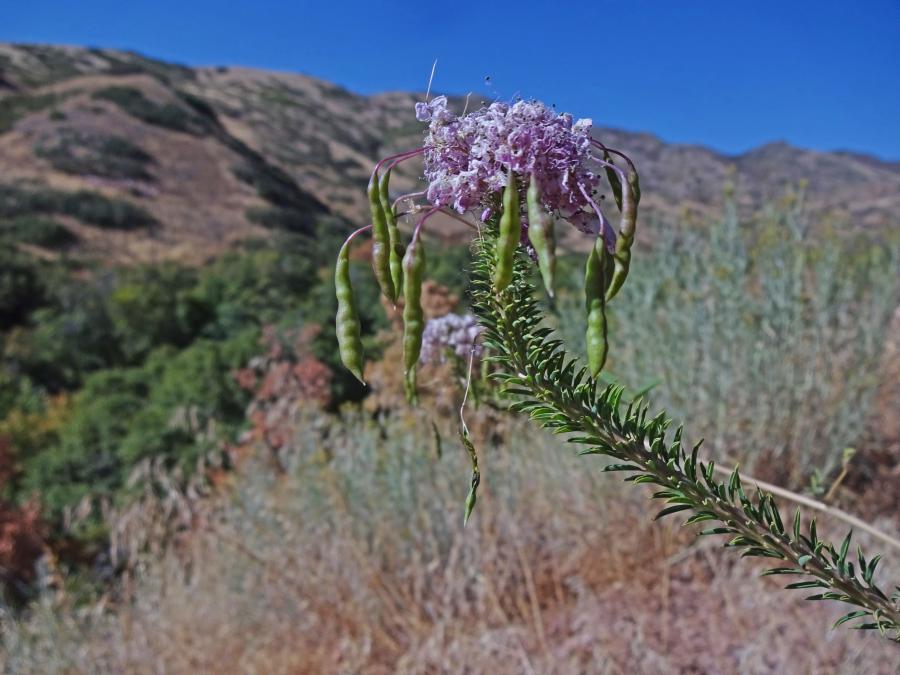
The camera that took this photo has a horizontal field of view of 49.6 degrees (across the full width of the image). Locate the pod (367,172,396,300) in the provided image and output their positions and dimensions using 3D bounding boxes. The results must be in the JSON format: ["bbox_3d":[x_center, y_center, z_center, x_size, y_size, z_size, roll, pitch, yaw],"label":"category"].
[{"bbox_3d":[-0.301,-0.429,4.266,0.137,0.599,0.297,2,20,-6],"label":"pod"}]

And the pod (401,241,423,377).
[{"bbox_3d":[-0.167,-0.128,4.220,0.088,0.605,0.217,2,19,-4],"label":"pod"}]

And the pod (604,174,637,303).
[{"bbox_3d":[0.743,-0.443,4.204,0.085,0.807,0.078,8,-11,-23],"label":"pod"}]

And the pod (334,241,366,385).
[{"bbox_3d":[-0.441,-0.084,4.255,0.085,0.901,0.101,-2,-3,-14],"label":"pod"}]

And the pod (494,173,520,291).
[{"bbox_3d":[0.246,-0.440,4.109,0.089,0.482,0.144,4,19,2],"label":"pod"}]

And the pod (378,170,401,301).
[{"bbox_3d":[-0.267,-0.435,4.224,0.065,0.705,0.058,-2,0,-36],"label":"pod"}]
